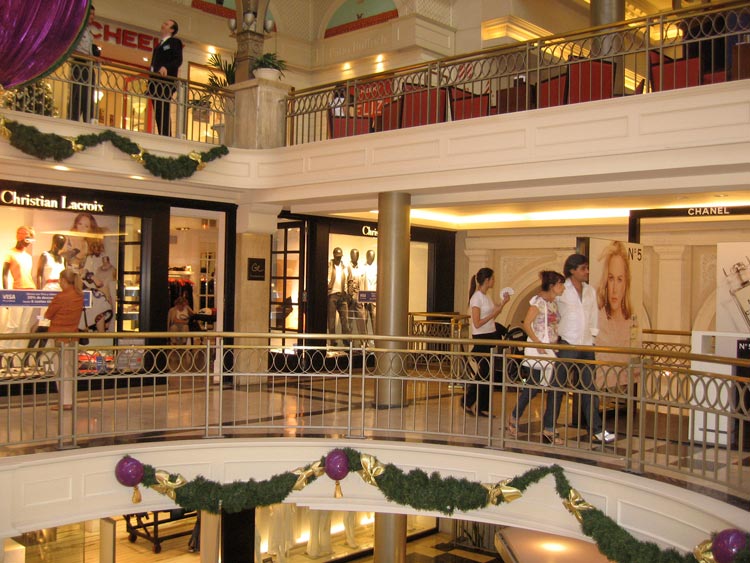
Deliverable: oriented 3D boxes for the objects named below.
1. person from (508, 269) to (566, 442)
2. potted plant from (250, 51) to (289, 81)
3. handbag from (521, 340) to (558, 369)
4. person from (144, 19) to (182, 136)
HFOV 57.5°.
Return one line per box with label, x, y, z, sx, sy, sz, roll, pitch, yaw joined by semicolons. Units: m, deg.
person;1.924;0.875;8.144;0.595;2.014;1.380;1;-2;15
potted plant;-1.870;-3.664;11.737;0.488;0.393;0.516;0;15;-16
handbag;1.899;0.863;7.898;0.360;0.350;0.770;1;-2;16
person;-3.437;-3.258;11.121;0.481;1.899;1.113;2;-2;-18
